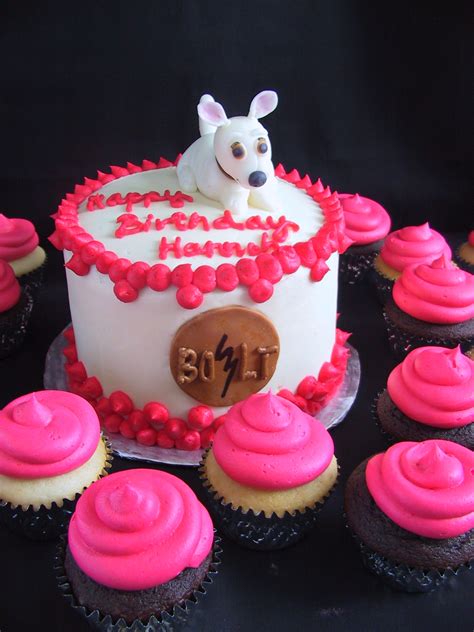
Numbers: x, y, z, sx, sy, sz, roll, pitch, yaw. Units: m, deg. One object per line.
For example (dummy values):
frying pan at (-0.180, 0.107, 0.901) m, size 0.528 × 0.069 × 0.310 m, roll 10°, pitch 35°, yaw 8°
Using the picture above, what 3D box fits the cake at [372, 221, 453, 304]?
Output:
cake at (1.063, -0.357, 4.512) m, size 0.590 × 0.468 × 0.504 m, roll 1°, pitch 28°, yaw 6°
